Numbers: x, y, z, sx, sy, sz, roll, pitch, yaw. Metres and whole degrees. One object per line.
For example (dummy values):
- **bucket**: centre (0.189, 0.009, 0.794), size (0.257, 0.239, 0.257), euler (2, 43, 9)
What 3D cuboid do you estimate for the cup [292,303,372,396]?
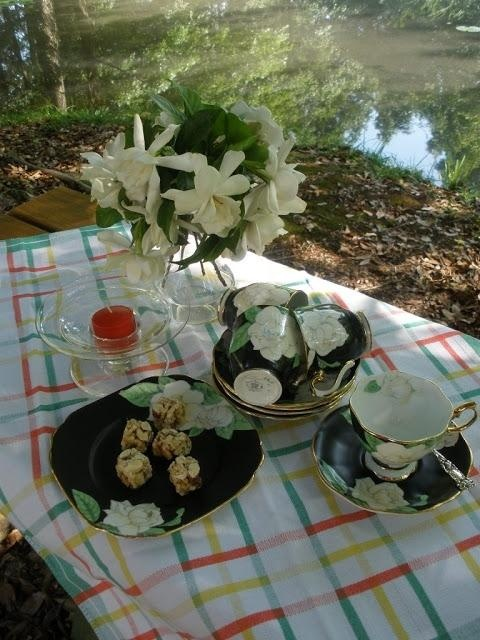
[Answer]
- **cup**: centre (0.091, 0.046, 0.682), size (0.101, 0.107, 0.106), euler (1, 35, -1)

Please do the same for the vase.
- **vase**: centre (-0.073, -0.063, 0.908), size (0.138, 0.256, 0.144), euler (-4, 79, 4)

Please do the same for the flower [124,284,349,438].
- **flower**: centre (0.024, 0.014, 0.705), size (0.227, 0.158, 0.219), euler (20, 37, 36)
